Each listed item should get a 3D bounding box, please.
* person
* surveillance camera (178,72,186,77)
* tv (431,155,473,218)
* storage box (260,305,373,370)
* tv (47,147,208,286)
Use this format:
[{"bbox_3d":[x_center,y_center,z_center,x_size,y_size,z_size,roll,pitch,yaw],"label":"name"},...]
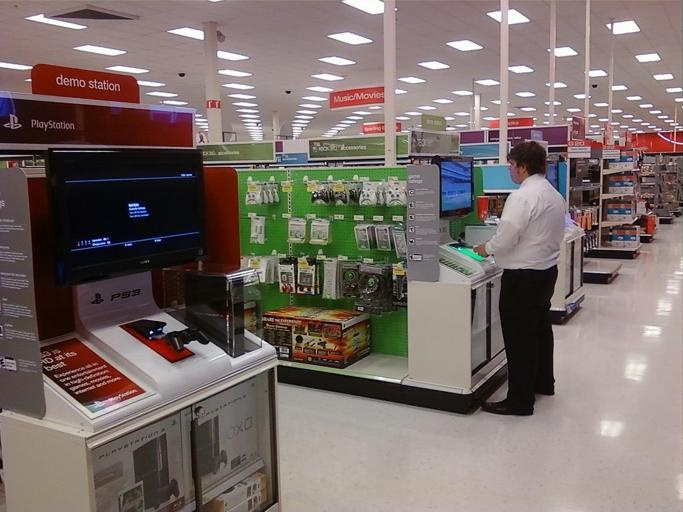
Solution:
[{"bbox_3d":[1.510,0.326,4.094,0.724,1.946,0.401,-7,10,-36],"label":"person"},{"bbox_3d":[-4.385,-5.000,13.754,0.134,0.050,0.126,-5,0,42],"label":"surveillance camera"},{"bbox_3d":[0.978,-0.606,4.384,0.076,0.510,0.837,4,10,33],"label":"tv"},{"bbox_3d":[-0.250,0.744,4.688,1.003,0.537,0.486,3,12,21],"label":"storage box"},{"bbox_3d":[-0.934,-0.207,2.293,0.073,0.539,0.759,7,12,32],"label":"tv"}]
